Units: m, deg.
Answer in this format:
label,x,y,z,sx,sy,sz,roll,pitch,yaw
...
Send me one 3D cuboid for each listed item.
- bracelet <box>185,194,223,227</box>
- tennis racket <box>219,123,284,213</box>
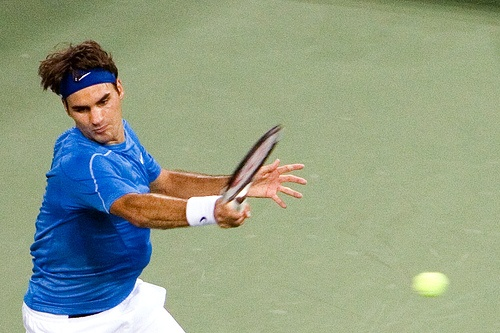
label,x,y,z,sx,sy,sz,roll,pitch,yaw
bracelet,-0.399,0.374,6.245,0.339,0.230,0.183,-12,21,-9
tennis racket,-0.010,-0.026,6.506,0.430,0.456,0.942,0,21,21
